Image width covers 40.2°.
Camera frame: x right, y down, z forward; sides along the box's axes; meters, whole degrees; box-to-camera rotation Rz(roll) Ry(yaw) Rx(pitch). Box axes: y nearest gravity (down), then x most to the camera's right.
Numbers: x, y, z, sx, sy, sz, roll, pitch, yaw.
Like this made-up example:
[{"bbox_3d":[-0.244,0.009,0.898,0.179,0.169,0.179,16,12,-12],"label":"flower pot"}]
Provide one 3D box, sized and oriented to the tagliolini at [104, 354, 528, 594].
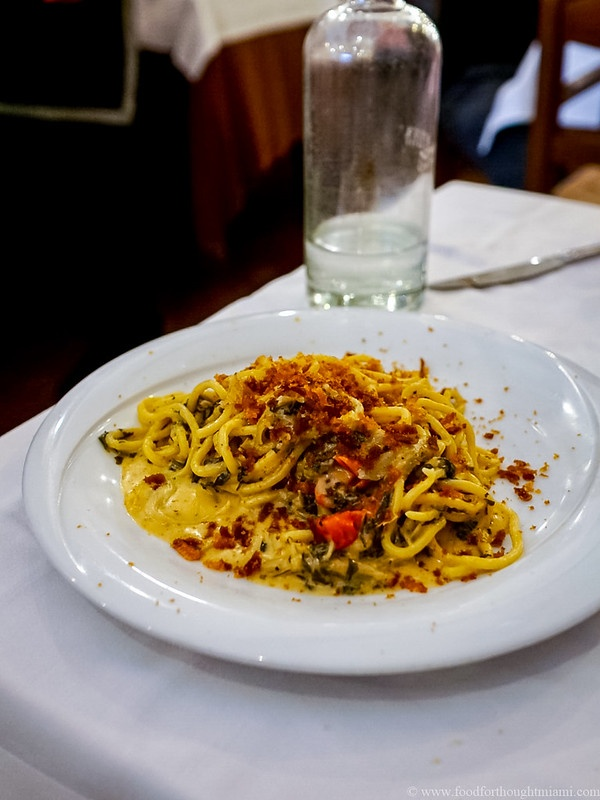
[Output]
[{"bbox_3d":[0.013,0.075,1.464,0.704,0.158,0.619,-11,37,-14],"label":"tagliolini"}]
